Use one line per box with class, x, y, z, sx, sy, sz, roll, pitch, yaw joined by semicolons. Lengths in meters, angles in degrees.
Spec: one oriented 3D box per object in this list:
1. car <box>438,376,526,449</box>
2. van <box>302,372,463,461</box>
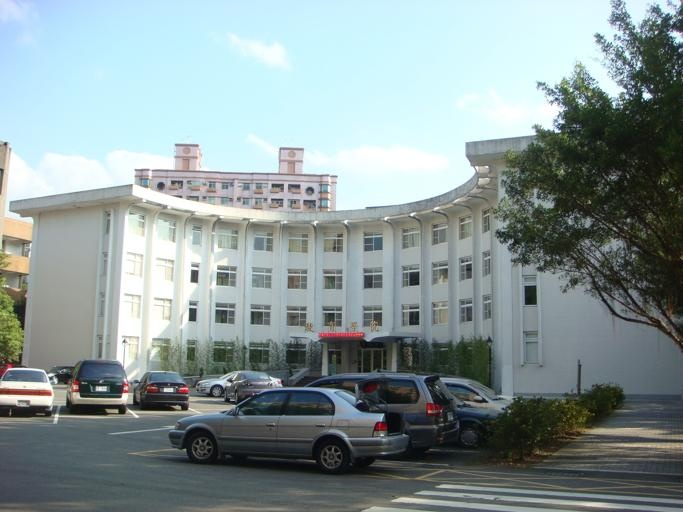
car;4.222;4.383;21.043;2.684;1.376;1.564;-5;-9;14
van;1.054;3.941;18.700;3.809;1.349;1.862;0;-8;18
